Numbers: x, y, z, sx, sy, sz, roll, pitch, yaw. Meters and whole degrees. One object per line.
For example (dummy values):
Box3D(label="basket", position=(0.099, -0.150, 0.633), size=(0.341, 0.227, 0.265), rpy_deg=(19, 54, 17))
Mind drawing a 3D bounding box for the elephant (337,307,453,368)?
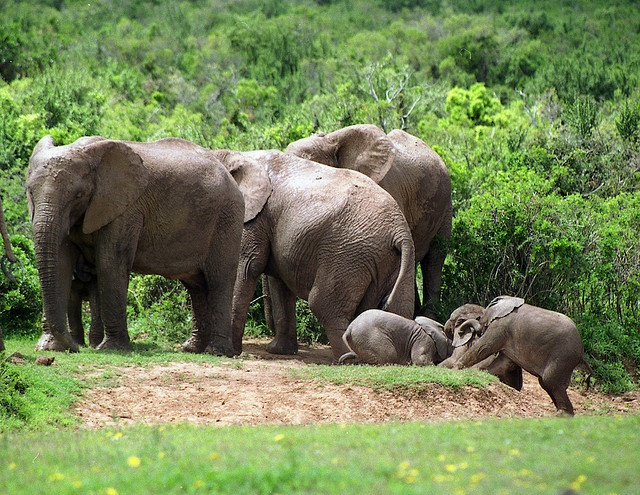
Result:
Box3D(label="elephant", position=(1.046, 1.288, 11.600), size=(1.472, 0.872, 0.685), rpy_deg=(-2, -3, -10))
